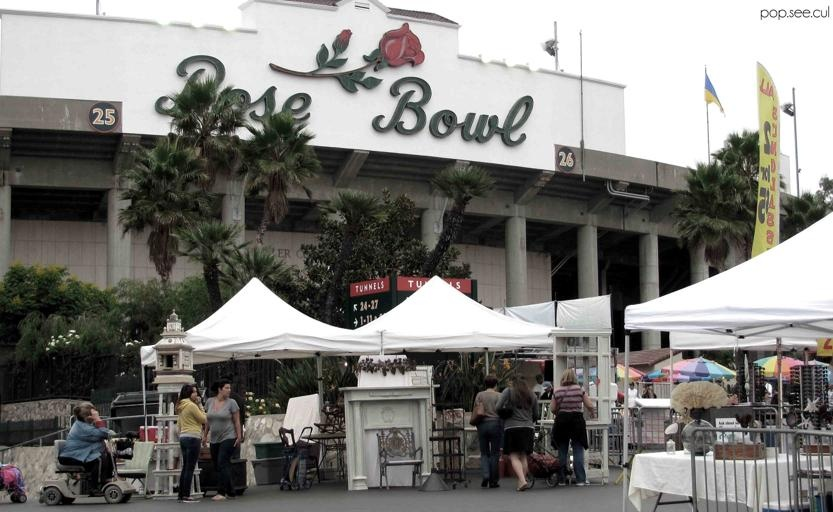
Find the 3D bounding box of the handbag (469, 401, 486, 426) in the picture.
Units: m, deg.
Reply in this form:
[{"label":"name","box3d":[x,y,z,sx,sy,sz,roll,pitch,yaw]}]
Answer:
[{"label":"handbag","box3d":[2.036,5.197,45.396,0.280,0.861,0.801,1,-24,-10]}]

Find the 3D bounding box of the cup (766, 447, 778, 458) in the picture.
[{"label":"cup","box3d":[10.379,5.689,39.948,0.283,0.244,0.310,0,-2,0]}]

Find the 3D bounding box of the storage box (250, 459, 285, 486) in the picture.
[{"label":"storage box","box3d":[-5.151,7.425,47.497,0.762,0.829,0.926,-5,-11,31]}]

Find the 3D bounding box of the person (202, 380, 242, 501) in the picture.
[{"label":"person","box3d":[-6.287,5.924,44.433,1.100,3.783,1.182,1,-10,-15]}]

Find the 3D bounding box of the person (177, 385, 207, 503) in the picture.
[{"label":"person","box3d":[-7.266,5.955,44.274,0.892,3.783,0.781,-2,-10,0]}]

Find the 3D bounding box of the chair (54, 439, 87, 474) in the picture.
[{"label":"chair","box3d":[-11.521,6.564,45.486,1.005,1.440,0.953,-2,-7,16]}]

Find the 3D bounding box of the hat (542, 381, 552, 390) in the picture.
[{"label":"hat","box3d":[5.112,4.974,53.155,0.368,0.140,0.376,-5,14,-36]}]

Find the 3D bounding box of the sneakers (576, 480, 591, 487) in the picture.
[{"label":"sneakers","box3d":[5.506,7.403,45.071,0.482,0.237,0.195,0,4,-40]}]

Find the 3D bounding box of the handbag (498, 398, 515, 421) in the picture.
[{"label":"handbag","box3d":[2.947,4.921,44.611,0.568,0.936,0.479,2,2,19]}]

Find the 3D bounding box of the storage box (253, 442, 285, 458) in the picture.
[{"label":"storage box","box3d":[-5.179,6.771,47.654,0.565,0.438,0.797,5,-11,-31]}]

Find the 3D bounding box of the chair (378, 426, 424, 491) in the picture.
[{"label":"chair","box3d":[-0.543,6.585,45.401,1.470,2.453,1.091,2,-10,-15]}]
